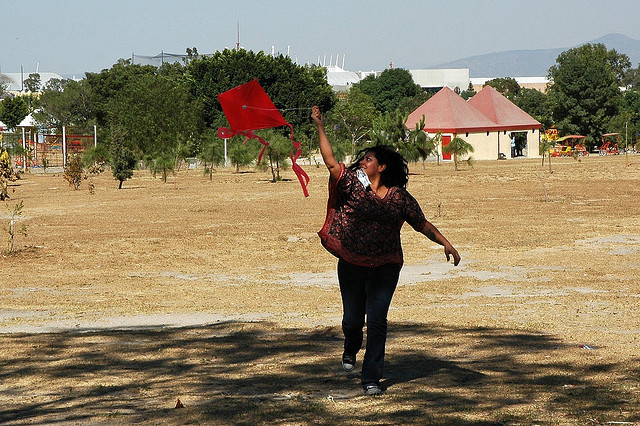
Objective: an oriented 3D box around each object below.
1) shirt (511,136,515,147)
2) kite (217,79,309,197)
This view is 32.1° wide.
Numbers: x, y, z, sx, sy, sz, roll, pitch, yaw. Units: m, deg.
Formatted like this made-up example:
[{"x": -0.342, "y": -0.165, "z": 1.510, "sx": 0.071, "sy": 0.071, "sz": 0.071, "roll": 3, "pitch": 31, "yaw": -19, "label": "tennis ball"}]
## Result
[{"x": 14.654, "y": -5.338, "z": 83.407, "sx": 0.084, "sy": 0.817, "sz": 0.813, "roll": 5, "pitch": 9, "yaw": 30, "label": "shirt"}, {"x": -1.426, "y": -1.917, "z": 24.644, "sx": 1.438, "sy": 2.140, "sz": 3.881, "roll": -4, "pitch": 5, "yaw": -12, "label": "kite"}]
